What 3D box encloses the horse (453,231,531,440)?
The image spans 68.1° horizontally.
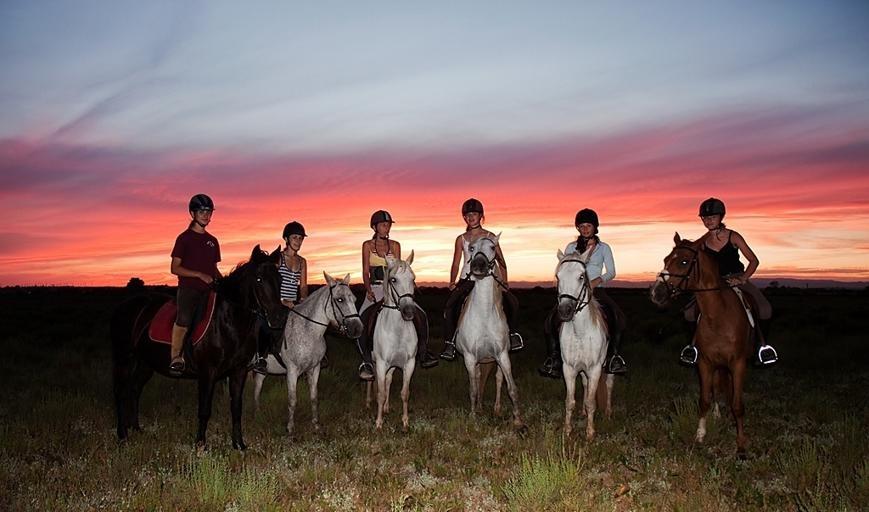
[{"bbox_3d":[1.809,2.477,21.220,2.109,6.367,3.460,0,3,7],"label":"horse"}]

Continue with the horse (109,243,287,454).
[{"bbox_3d":[-7.680,3.088,20.187,7.982,5.621,2.166,-5,-7,25],"label":"horse"}]

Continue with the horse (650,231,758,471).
[{"bbox_3d":[8.420,2.550,19.668,2.394,6.557,3.660,2,4,32],"label":"horse"}]

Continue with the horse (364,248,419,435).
[{"bbox_3d":[-1.290,2.724,20.649,1.431,5.976,2.773,0,3,-4],"label":"horse"}]

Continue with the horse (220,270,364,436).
[{"bbox_3d":[-4.555,3.633,21.483,1.708,4.758,6.609,12,-21,-39],"label":"horse"}]

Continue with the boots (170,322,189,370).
[{"bbox_3d":[-7.566,2.741,18.956,0.463,1.454,0.304,-1,3,-12],"label":"boots"}]
